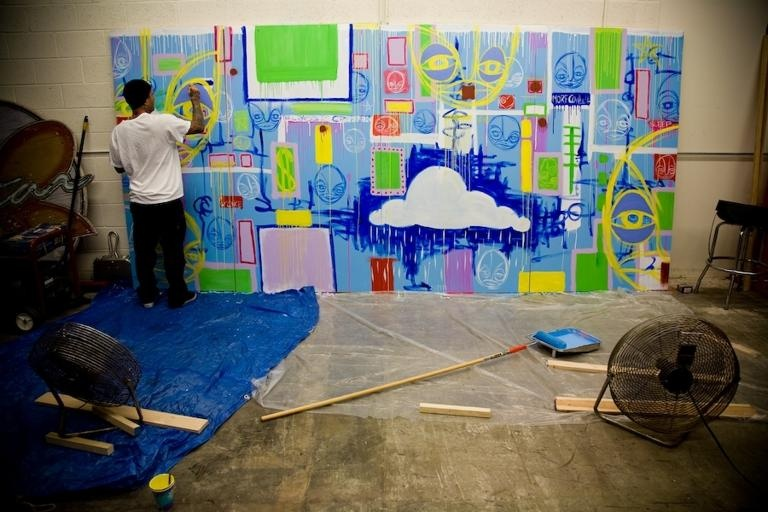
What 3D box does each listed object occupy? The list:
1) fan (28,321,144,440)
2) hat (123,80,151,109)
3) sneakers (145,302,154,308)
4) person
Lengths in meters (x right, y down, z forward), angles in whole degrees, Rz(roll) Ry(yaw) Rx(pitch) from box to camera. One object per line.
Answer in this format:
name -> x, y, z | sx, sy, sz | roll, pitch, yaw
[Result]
fan -> -2.547, 0.936, 4.943 | 0.818, 1.126, 0.937 | 4, 3, 24
hat -> -2.681, -1.786, 6.221 | 0.255, 0.318, 0.319 | 6, 26, 1
sneakers -> -2.704, 0.564, 6.408 | 0.114, 0.048, 0.043 | -4, 6, 0
person -> -2.530, -0.629, 6.304 | 0.984, 2.416, 0.550 | -4, 15, -22
